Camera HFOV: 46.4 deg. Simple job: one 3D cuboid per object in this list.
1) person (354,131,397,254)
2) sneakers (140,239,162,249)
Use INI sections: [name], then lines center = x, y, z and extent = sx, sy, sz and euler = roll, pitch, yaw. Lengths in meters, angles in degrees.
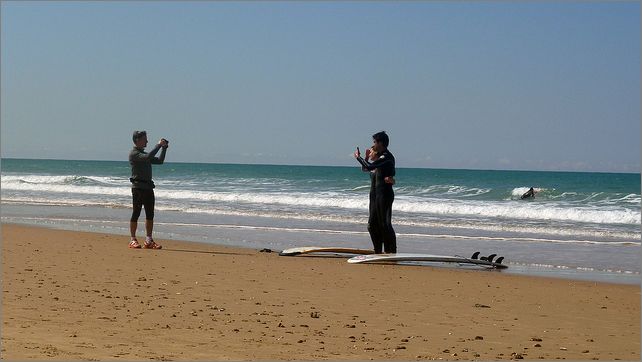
[person]
center = 1.413, 0.320, 18.322
extent = 0.824, 2.981, 0.998
euler = 0, 0, 5
[sneakers]
center = -4.307, 1.604, 18.874
extent = 0.584, 0.222, 0.211
euler = 2, 3, 0
